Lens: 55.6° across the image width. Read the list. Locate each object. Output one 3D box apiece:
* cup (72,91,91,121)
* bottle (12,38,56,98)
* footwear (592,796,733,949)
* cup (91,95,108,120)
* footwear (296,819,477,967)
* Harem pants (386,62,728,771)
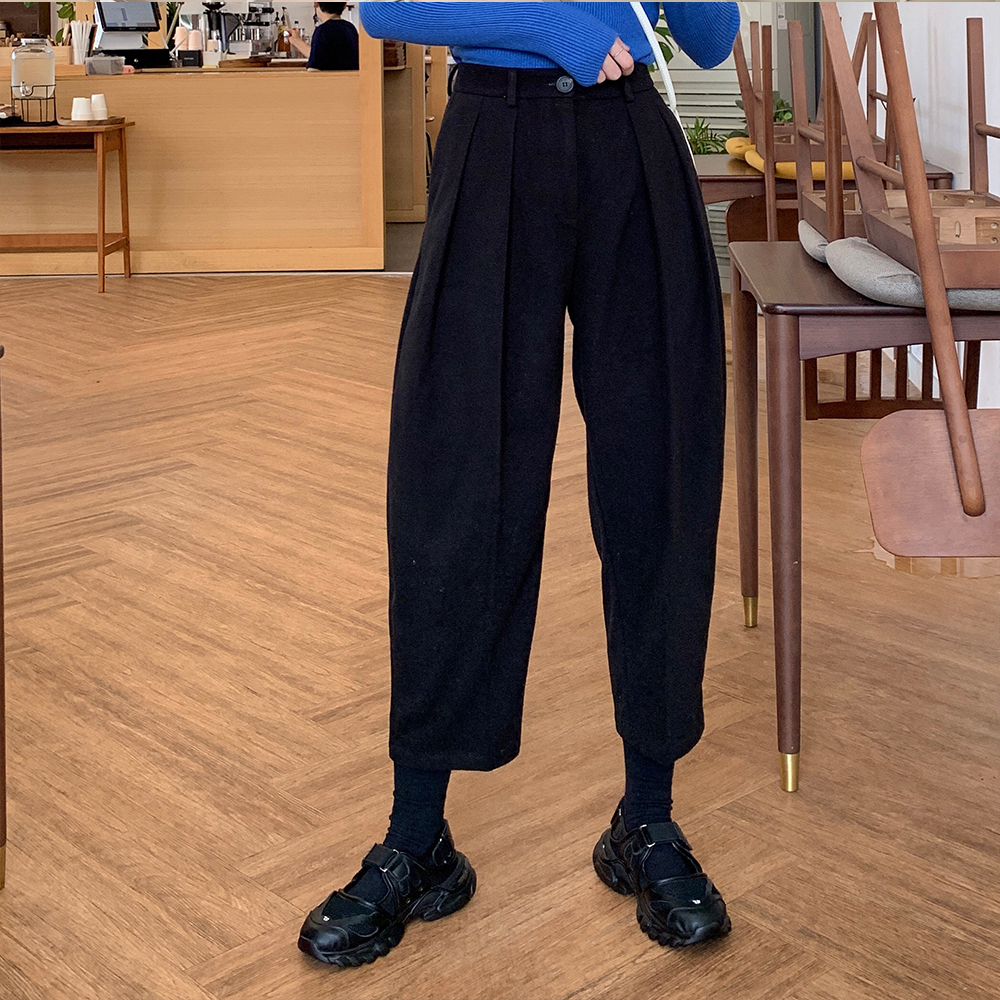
[{"bbox_3d":[-2.286,-2.122,5.172,0.113,0.145,0.204,-7,17,-16],"label":"cup"},{"bbox_3d":[-2.638,-2.419,5.349,0.240,0.318,0.169,-10,19,-24],"label":"bottle"},{"bbox_3d":[0.188,0.437,1.152,0.124,0.094,0.222,-7,14,-16],"label":"footwear"},{"bbox_3d":[-2.200,-2.143,5.202,0.073,0.145,0.121,-9,18,-20],"label":"cup"},{"bbox_3d":[-0.129,0.463,1.143,0.095,0.082,0.225,7,12,43],"label":"footwear"},{"bbox_3d":[0.052,-0.070,1.052,0.403,0.771,0.152,-5,19,-7],"label":"Harem pants"}]
